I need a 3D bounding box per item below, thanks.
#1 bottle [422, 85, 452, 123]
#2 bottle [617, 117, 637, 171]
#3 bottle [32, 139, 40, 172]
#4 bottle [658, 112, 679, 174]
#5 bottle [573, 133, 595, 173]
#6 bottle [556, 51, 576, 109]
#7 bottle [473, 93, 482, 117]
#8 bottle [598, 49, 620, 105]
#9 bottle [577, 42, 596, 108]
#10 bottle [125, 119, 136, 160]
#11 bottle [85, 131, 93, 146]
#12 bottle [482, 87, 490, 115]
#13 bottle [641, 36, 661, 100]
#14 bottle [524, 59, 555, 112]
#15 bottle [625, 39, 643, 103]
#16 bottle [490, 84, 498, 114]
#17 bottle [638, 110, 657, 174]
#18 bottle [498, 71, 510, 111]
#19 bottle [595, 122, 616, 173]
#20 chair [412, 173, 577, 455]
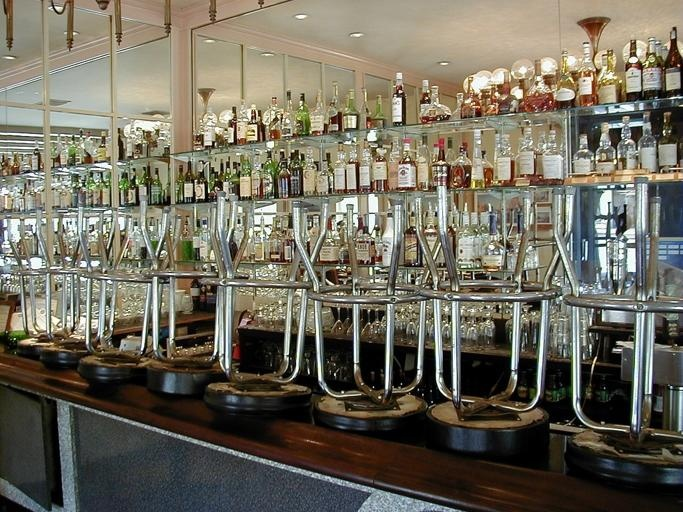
[{"bbox_3d":[0.577,-0.876,3.567,0.210,0.220,0.205,2,7,34],"label":"bottle"},{"bbox_3d":[1.420,-0.561,3.013,0.089,0.279,0.148,1,4,22],"label":"bottle"},{"bbox_3d":[-2.205,-0.722,4.380,0.064,0.215,0.022,-3,4,-26],"label":"bottle"},{"bbox_3d":[1.577,-0.553,2.921,0.083,0.289,0.056,1,4,30],"label":"bottle"},{"bbox_3d":[1.237,-0.520,3.098,0.094,0.215,0.162,1,4,21],"label":"bottle"},{"bbox_3d":[1.153,-0.897,3.124,0.096,0.303,0.203,1,4,21],"label":"bottle"},{"bbox_3d":[0.744,-0.826,3.324,0.043,0.151,0.150,0,4,12],"label":"bottle"},{"bbox_3d":[1.325,-0.876,3.009,0.097,0.261,0.137,1,4,22],"label":"bottle"},{"bbox_3d":[1.235,-0.903,3.052,0.090,0.315,0.131,1,4,19],"label":"bottle"},{"bbox_3d":[-1.704,-0.949,4.905,0.102,0.293,0.077,-4,5,-42],"label":"bottle"},{"bbox_3d":[-1.960,-0.912,4.698,0.023,0.096,0.066,2,5,35],"label":"bottle"},{"bbox_3d":[0.786,-0.845,3.294,0.053,0.159,0.092,0,4,12],"label":"bottle"},{"bbox_3d":[1.492,-0.889,2.913,0.091,0.282,0.154,1,4,26],"label":"bottle"},{"bbox_3d":[1.021,-0.870,3.149,0.148,0.256,0.183,0,4,16],"label":"bottle"},{"bbox_3d":[1.413,-0.888,2.939,0.072,0.285,0.171,1,4,25],"label":"bottle"},{"bbox_3d":[0.824,-0.845,3.275,0.031,0.180,0.134,0,4,14],"label":"bottle"},{"bbox_3d":[1.498,-0.556,2.968,0.090,0.299,0.091,-1,4,0],"label":"bottle"},{"bbox_3d":[0.878,-0.884,3.266,0.063,0.255,0.179,0,4,14],"label":"bottle"},{"bbox_3d":[1.329,-0.539,3.056,0.094,0.266,0.166,1,4,23],"label":"bottle"},{"bbox_3d":[0.452,0.127,1.879,0.339,0.703,1.074,0,4,13],"label":"chair"}]
